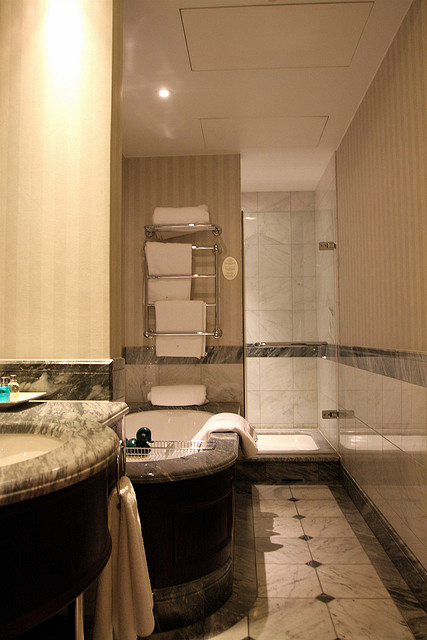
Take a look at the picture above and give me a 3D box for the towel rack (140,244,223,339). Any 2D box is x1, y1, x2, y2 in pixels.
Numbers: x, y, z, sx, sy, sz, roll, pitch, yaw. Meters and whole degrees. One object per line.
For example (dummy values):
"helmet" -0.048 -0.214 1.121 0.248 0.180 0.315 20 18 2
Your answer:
"towel rack" -0.198 -0.202 3.273 0.553 0.722 0.072 0 -2 3

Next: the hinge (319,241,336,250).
"hinge" 0.815 -0.531 3.433 0.130 0.049 0.114 -1 1 27
